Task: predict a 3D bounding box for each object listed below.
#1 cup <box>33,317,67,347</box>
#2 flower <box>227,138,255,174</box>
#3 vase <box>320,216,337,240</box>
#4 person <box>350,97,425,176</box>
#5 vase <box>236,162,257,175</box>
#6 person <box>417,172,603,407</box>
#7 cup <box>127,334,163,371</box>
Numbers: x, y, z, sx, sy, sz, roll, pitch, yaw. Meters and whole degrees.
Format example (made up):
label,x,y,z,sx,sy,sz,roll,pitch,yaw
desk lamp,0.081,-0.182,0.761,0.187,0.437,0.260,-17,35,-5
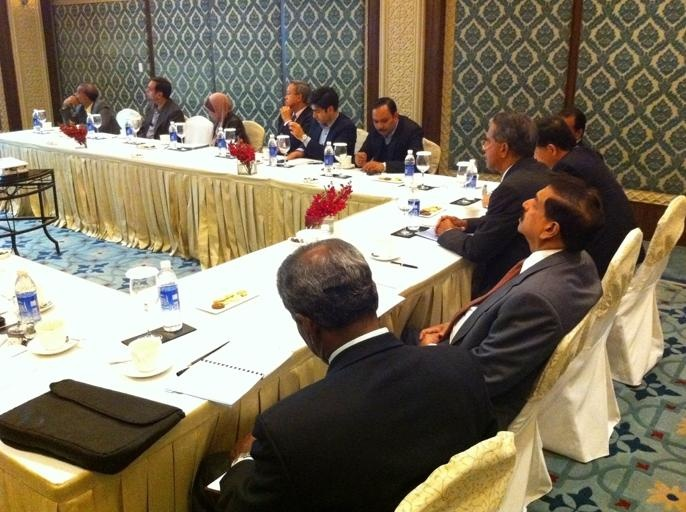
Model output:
label,x,y,z,sx,sy,sz,roll,pitch,yaw
cup,-1.119,0.291,2.077,0.098,0.087,0.099,0,15,0
flower,-0.833,-0.861,4.633,0.251,0.305,0.263,-2,16,-4
vase,-0.087,-0.171,3.212,0.093,0.117,0.120,-6,13,-22
person,0.417,-1.121,4.973,0.642,0.631,0.775,6,18,14
vase,-0.829,-0.740,4.609,0.113,0.083,0.122,4,10,20
person,0.760,0.165,2.379,0.556,1.239,0.631,-28,44,-33
cup,-0.726,0.340,1.972,0.094,0.086,0.124,3,29,-2
